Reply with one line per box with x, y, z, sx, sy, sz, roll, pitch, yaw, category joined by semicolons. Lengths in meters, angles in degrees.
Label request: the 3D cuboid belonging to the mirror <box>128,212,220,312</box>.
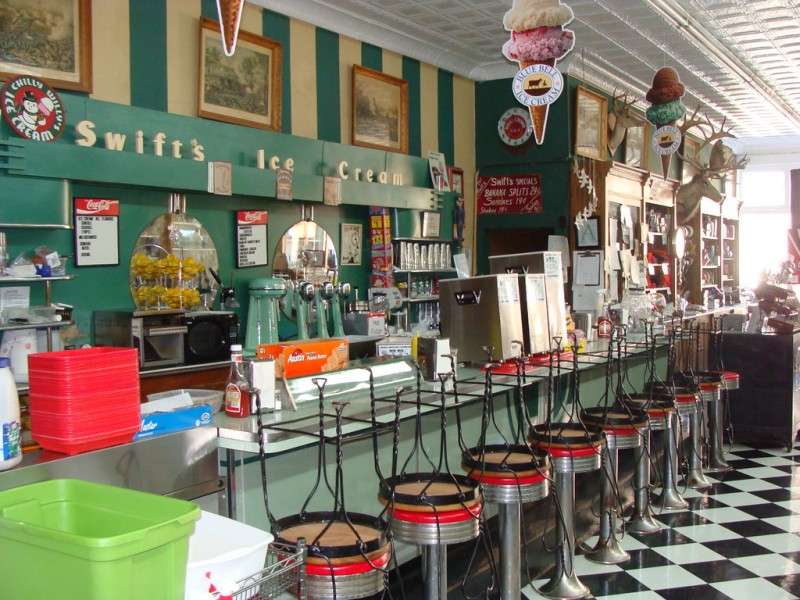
-1.704;-0.276;4.737;0.019;0.845;0.701;-4;-5;38;mirror

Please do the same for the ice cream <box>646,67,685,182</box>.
2.623;-1.744;6.182;0.270;0.928;0.314;-5;11;-34;ice cream

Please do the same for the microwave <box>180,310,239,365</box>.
-1.335;0.267;4.537;0.151;0.345;0.480;5;6;34;microwave

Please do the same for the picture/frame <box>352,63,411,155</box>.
-0.228;-1.962;6.638;0.077;0.948;1.046;0;1;35;picture/frame

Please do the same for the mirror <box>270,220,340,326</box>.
-0.879;-0.220;5.683;0.045;1.143;0.896;4;4;38;mirror

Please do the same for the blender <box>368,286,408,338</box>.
-0.158;0.143;6.328;0.249;0.500;0.478;-2;3;18;blender

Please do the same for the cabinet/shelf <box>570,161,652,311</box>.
2.632;-0.813;8.098;0.616;1.794;2.003;4;6;32;cabinet/shelf

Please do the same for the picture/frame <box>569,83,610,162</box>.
2.231;-2.107;7.696;0.108;0.812;1.038;-1;1;30;picture/frame

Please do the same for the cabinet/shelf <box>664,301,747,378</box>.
3.171;0.439;6.715;0.397;0.551;0.751;-1;3;33;cabinet/shelf

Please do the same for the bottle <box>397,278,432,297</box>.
0.161;-0.096;6.923;0.191;0.250;0.353;-2;-1;45;bottle
